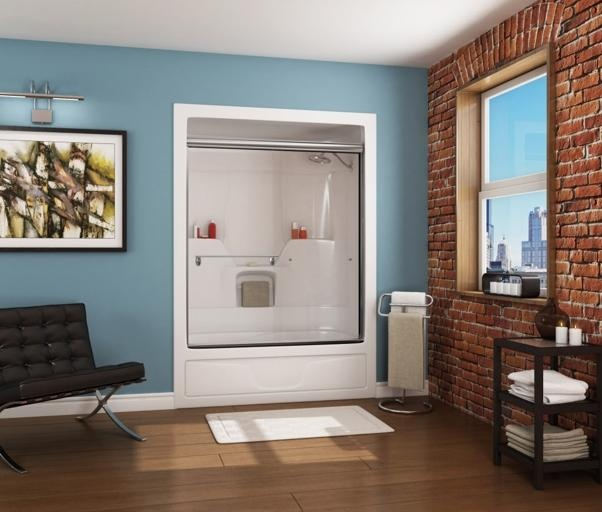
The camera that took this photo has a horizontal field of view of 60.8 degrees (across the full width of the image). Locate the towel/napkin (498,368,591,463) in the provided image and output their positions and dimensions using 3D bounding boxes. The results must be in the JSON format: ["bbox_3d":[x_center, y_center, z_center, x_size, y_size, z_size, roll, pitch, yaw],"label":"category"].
[{"bbox_3d":[1.430,0.888,3.220,0.453,0.586,0.584,0,0,-13],"label":"towel/napkin"}]

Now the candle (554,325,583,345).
[{"bbox_3d":[1.579,0.472,3.021,0.166,0.140,0.097,1,2,22],"label":"candle"}]

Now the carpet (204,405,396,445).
[{"bbox_3d":[-0.042,1.285,3.991,1.379,0.018,0.725,0,1,-11],"label":"carpet"}]

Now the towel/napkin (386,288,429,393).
[{"bbox_3d":[0.913,0.794,4.579,0.439,0.955,0.476,0,1,10],"label":"towel/napkin"}]

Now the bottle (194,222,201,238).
[{"bbox_3d":[-1.055,-0.261,5.184,0.070,0.149,0.045,0,1,-13],"label":"bottle"}]

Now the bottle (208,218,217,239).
[{"bbox_3d":[-0.902,-0.268,5.212,0.089,0.174,0.048,0,1,-9],"label":"bottle"}]

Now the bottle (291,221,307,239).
[{"bbox_3d":[-0.033,-0.274,5.376,0.190,0.259,0.079,1,-2,-17],"label":"bottle"}]
